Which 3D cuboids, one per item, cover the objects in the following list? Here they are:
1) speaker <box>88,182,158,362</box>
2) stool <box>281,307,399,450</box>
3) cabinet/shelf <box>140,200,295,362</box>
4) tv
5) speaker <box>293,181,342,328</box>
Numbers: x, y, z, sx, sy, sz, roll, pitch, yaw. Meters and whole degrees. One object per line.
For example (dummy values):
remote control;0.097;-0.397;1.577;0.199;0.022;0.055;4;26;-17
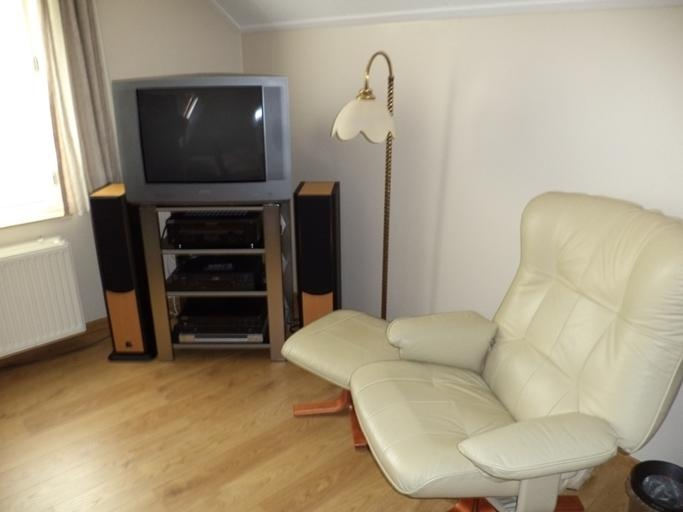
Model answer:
speaker;-1.320;0.136;3.360;0.269;1.042;0.143;-1;19;1
stool;-0.025;0.548;2.901;0.620;0.552;0.632;-7;29;-13
cabinet/shelf;-0.749;0.184;3.616;0.647;0.958;0.714;-4;8;-13
tv;-0.780;-0.634;3.391;1.094;0.900;0.638;0;19;0
speaker;-0.139;0.141;3.474;0.173;0.669;0.196;-10;50;4
